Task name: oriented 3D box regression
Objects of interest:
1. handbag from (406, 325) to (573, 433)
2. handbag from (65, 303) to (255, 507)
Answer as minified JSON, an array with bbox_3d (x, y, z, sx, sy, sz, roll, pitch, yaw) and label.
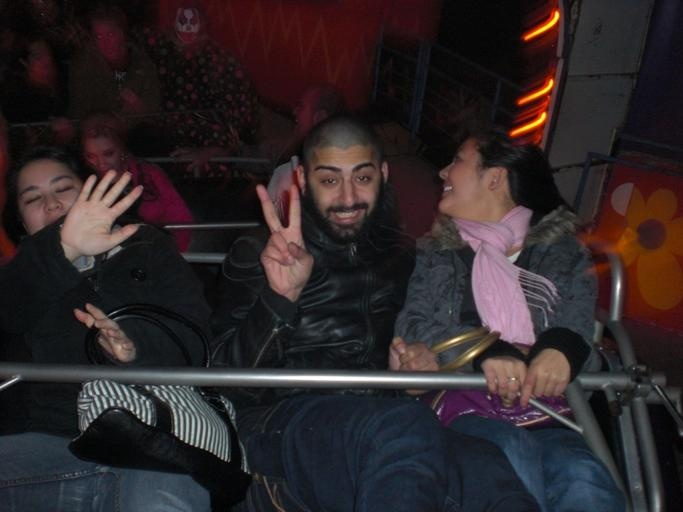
[{"bbox_3d":[0.601,0.450,2.228,0.349,0.122,0.527,-29,26,-33],"label":"handbag"},{"bbox_3d":[-0.675,0.555,2.097,0.655,0.292,0.582,32,17,-31],"label":"handbag"}]
